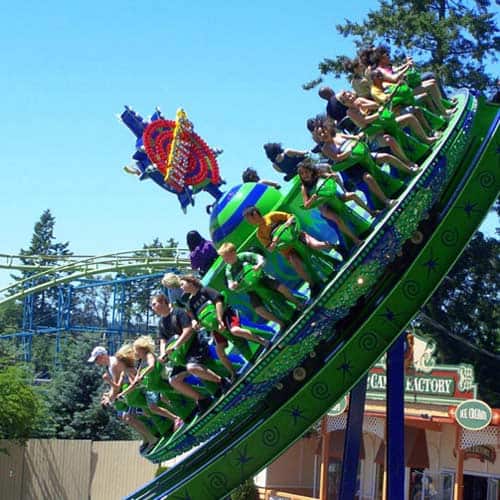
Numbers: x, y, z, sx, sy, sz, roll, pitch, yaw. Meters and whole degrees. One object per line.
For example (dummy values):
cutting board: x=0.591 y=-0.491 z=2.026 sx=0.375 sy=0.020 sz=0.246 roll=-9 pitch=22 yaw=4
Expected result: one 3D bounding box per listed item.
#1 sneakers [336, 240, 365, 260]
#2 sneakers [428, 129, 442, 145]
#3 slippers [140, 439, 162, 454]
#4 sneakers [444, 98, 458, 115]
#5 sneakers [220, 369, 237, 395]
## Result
sneakers: x=1.118 y=0.000 z=9.252 sx=0.185 sy=0.132 sz=0.405 roll=42 pitch=-36 yaw=-11
sneakers: x=2.348 y=-1.457 z=10.143 sx=0.156 sy=0.111 sz=0.367 roll=40 pitch=10 yaw=3
slippers: x=-1.305 y=2.600 z=10.546 sx=0.102 sy=0.271 sz=0.153 roll=42 pitch=-31 yaw=-16
sneakers: x=2.747 y=-1.965 z=10.854 sx=0.184 sy=0.135 sz=0.448 roll=38 pitch=26 yaw=-5
sneakers: x=-0.258 y=1.539 z=9.361 sx=0.131 sy=0.114 sz=0.305 roll=38 pitch=-42 yaw=0
